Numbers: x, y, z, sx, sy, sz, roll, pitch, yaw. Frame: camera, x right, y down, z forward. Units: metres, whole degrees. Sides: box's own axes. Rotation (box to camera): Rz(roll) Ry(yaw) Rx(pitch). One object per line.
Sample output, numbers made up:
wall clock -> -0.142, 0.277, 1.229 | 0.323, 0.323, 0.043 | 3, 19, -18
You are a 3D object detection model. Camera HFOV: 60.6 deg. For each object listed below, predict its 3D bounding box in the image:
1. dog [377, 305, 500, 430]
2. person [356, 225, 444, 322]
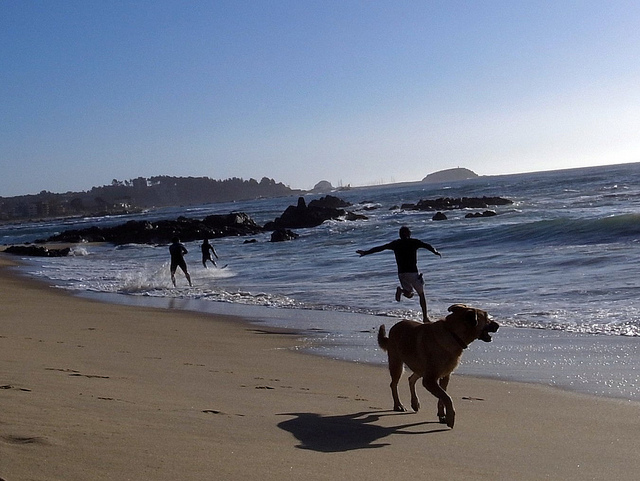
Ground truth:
dog -> 1.209, 1.280, 5.758 | 0.510, 1.146, 1.148 | 4, -1, -35
person -> 1.506, 0.574, 9.562 | 0.916, 1.562, 1.144 | 3, -1, 13
